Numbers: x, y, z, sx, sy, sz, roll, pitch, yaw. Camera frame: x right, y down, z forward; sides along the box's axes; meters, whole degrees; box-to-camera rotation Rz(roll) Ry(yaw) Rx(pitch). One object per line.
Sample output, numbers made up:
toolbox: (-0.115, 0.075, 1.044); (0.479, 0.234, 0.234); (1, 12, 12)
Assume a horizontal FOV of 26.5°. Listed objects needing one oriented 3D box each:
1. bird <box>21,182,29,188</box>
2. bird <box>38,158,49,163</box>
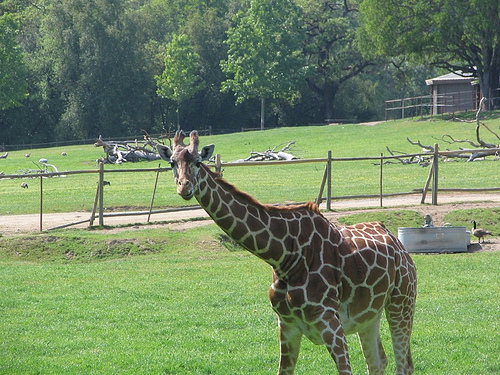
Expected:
bird: (-18.408, -0.147, 86.628); (0.326, 0.469, 0.417); (-5, 18, -2)
bird: (-19.421, -2.516, 99.921); (0.473, 0.265, 0.795); (-13, 12, -41)
